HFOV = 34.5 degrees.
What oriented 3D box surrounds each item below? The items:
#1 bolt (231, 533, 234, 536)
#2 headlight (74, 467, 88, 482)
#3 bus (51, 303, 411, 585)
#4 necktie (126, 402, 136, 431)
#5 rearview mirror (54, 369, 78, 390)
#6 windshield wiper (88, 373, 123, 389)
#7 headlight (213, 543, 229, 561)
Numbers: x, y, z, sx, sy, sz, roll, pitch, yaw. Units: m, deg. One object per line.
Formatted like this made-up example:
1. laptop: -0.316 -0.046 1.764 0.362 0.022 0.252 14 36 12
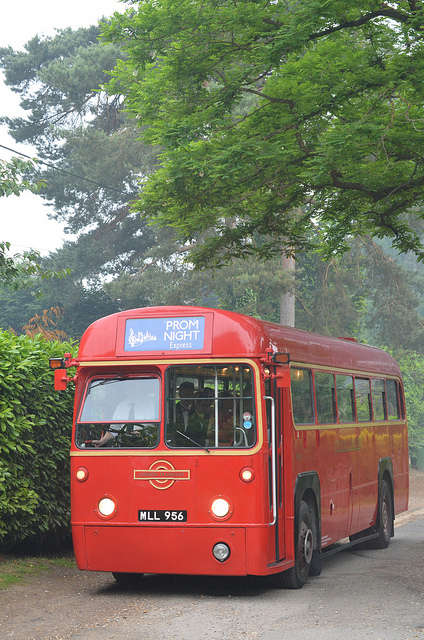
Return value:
1. bolt: 0.177 1.847 5.875 0.022 0.022 0.005 6 -44 13
2. headlight: -1.220 1.461 6.453 0.103 0.106 0.037 -25 -8 12
3. bus: 0.940 1.594 9.271 2.253 2.602 6.890 -4 -10 22
4. necktie: -0.749 0.905 6.371 0.099 0.255 0.034 -4 -5 37
5. rearview mirror: -1.444 0.589 6.725 0.244 0.183 0.163 0 -1 -42
6. windshield wiper: -1.026 0.580 6.544 0.434 0.077 0.021 -22 -7 32
7. headlight: 0.084 1.983 5.861 0.119 0.131 0.127 -1 -1 7
